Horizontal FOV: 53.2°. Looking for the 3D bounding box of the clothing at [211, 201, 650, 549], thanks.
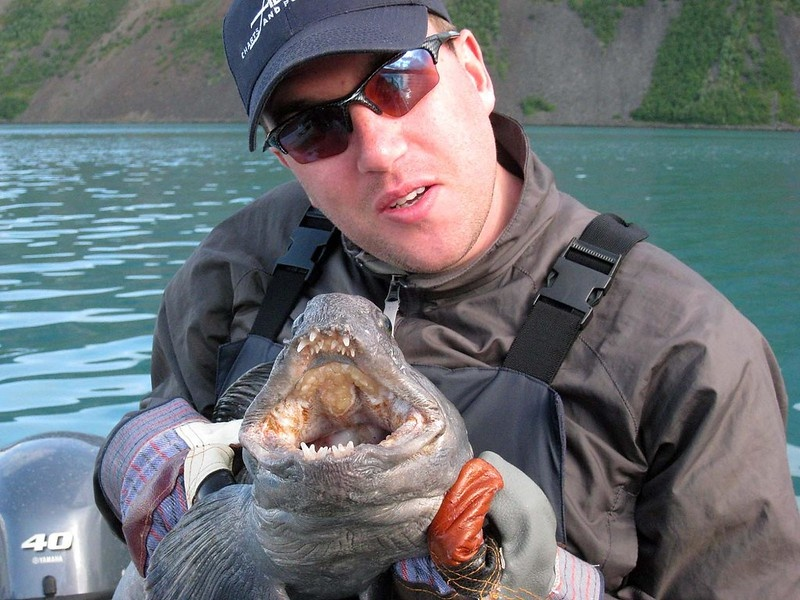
[{"bbox_3d":[0.416,0.229,3.266,1.615,0.492,1.432,19,58,19],"label":"clothing"}]
